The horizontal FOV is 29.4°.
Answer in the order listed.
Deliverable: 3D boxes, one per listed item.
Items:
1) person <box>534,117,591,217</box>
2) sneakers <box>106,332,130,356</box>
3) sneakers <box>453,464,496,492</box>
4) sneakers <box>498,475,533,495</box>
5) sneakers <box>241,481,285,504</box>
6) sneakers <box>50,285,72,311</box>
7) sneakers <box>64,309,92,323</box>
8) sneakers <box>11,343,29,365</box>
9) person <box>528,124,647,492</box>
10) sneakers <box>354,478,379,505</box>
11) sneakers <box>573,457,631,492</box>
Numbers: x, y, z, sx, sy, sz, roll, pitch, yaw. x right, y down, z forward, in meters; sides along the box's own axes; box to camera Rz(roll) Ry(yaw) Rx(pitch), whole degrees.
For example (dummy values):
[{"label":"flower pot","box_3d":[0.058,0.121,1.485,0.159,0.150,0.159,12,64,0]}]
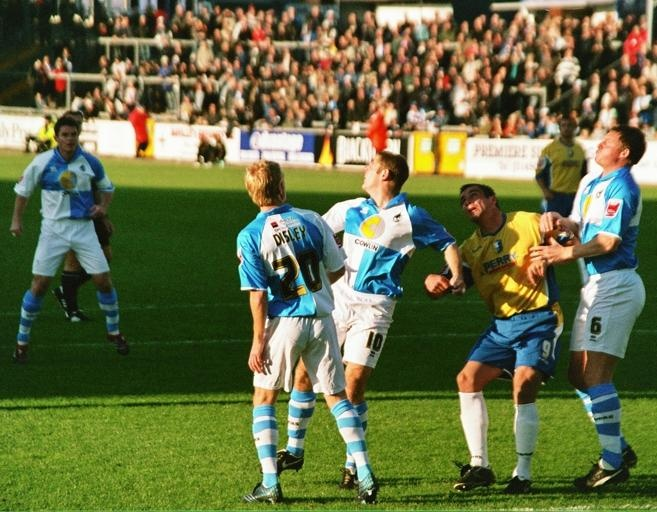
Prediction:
[{"label":"person","box_3d":[3.700,-0.973,19.362,0.860,2.516,0.598,-3,27,6]},{"label":"sneakers","box_3d":[-2.577,1.078,15.360,0.156,0.342,0.141,-29,1,-29]},{"label":"sneakers","box_3d":[1.497,2.266,12.749,0.515,0.274,0.188,-3,0,-12]},{"label":"sneakers","box_3d":[1.933,2.351,12.733,0.280,0.131,0.141,3,2,-9]},{"label":"sneakers","box_3d":[-0.645,2.398,12.592,0.428,0.220,0.160,1,-4,13]},{"label":"sneakers","box_3d":[-3.478,0.554,16.489,0.189,0.440,0.147,-5,30,30]},{"label":"sneakers","box_3d":[-3.332,0.792,16.536,0.375,0.171,0.141,-1,11,-5]},{"label":"sneakers","box_3d":[-3.691,1.187,14.986,0.103,0.190,0.302,5,4,-14]},{"label":"person","box_3d":[2.763,0.497,12.979,0.971,3.616,1.146,3,11,20]},{"label":"sneakers","box_3d":[0.394,2.353,12.499,0.137,0.322,0.142,-31,66,-24]},{"label":"sneakers","box_3d":[2.790,2.273,12.891,0.641,0.300,0.231,-14,4,2]}]
